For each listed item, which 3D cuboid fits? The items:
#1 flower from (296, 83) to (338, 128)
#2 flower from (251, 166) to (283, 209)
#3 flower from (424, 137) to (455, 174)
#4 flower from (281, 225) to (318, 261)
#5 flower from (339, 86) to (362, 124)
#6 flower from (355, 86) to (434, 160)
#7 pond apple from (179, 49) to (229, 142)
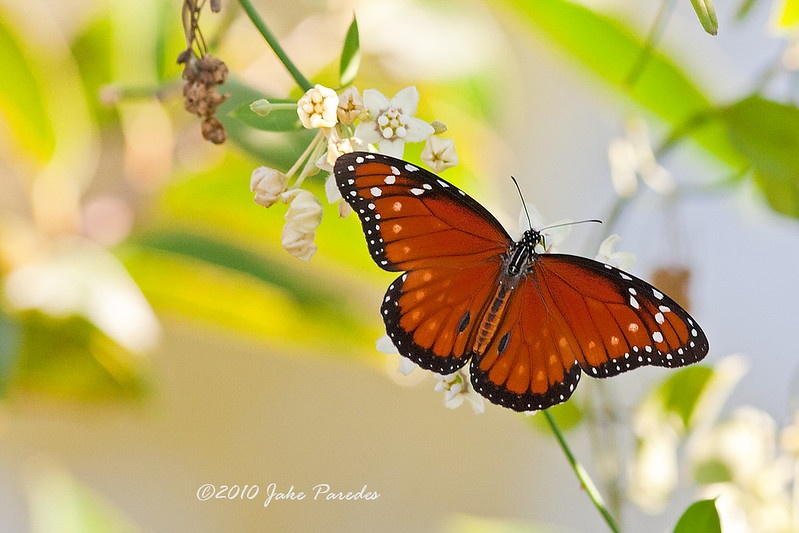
[{"bbox_3d":[-0.237,-0.445,2.482,0.124,0.137,0.089,10,38,-7],"label":"flower"},{"bbox_3d":[-0.391,-0.234,2.549,0.092,0.109,0.033,4,13,-11],"label":"flower"},{"bbox_3d":[0.116,-0.322,2.542,0.086,0.102,0.040,-1,1,4],"label":"flower"},{"bbox_3d":[-0.289,-0.056,2.577,0.139,0.049,0.216,26,-13,-1],"label":"flower"},{"bbox_3d":[-0.143,-0.459,2.475,0.072,0.094,0.045,1,9,-9],"label":"flower"},{"bbox_3d":[-0.022,-0.433,2.505,0.173,0.064,0.166,-30,23,-24],"label":"flower"},{"bbox_3d":[-0.553,-0.473,2.423,0.169,0.226,0.155,13,38,-3],"label":"pond apple"}]
